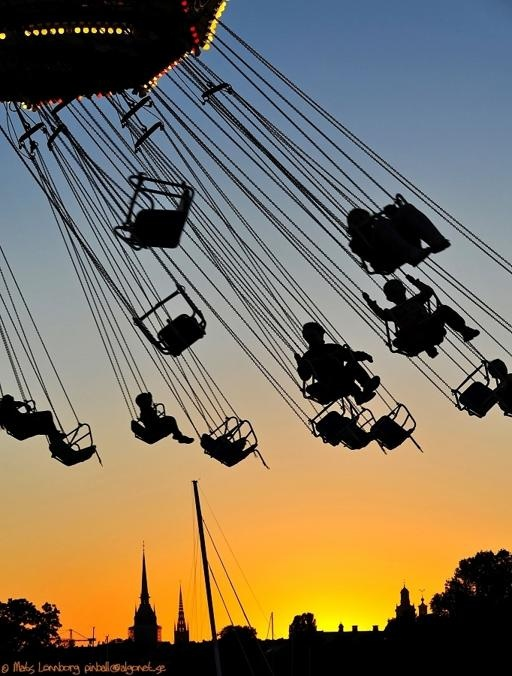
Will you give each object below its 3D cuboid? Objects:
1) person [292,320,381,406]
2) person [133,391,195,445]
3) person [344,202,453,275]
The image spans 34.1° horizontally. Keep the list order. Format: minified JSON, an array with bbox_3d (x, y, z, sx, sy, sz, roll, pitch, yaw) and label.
[{"bbox_3d":[1.054,0.416,11.402,0.895,0.797,1.114,-34,-77,21],"label":"person"},{"bbox_3d":[-1.988,1.637,17.515,1.215,1.133,0.624,-8,8,-6],"label":"person"},{"bbox_3d":[1.981,-1.320,11.766,1.341,1.466,0.692,-14,-38,14],"label":"person"}]
